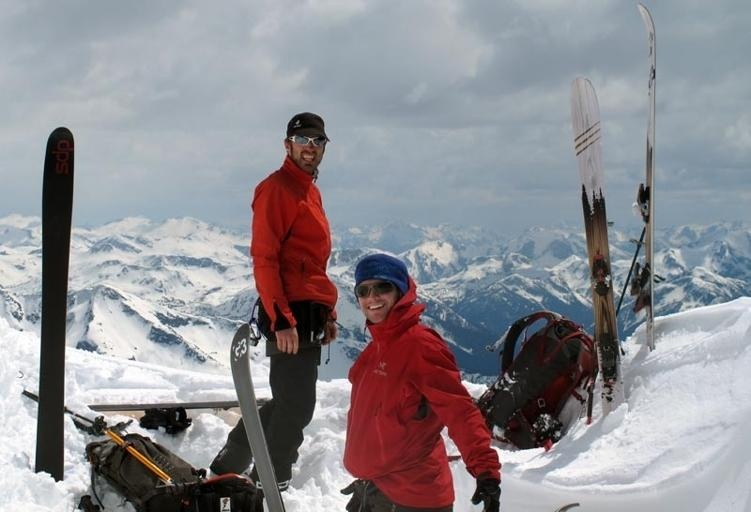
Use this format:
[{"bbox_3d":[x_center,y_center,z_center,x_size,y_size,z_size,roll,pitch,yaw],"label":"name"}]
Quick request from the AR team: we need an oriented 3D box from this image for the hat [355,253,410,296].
[{"bbox_3d":[0.062,0.121,8.518,0.467,0.347,0.481,3,-14,12],"label":"hat"}]
